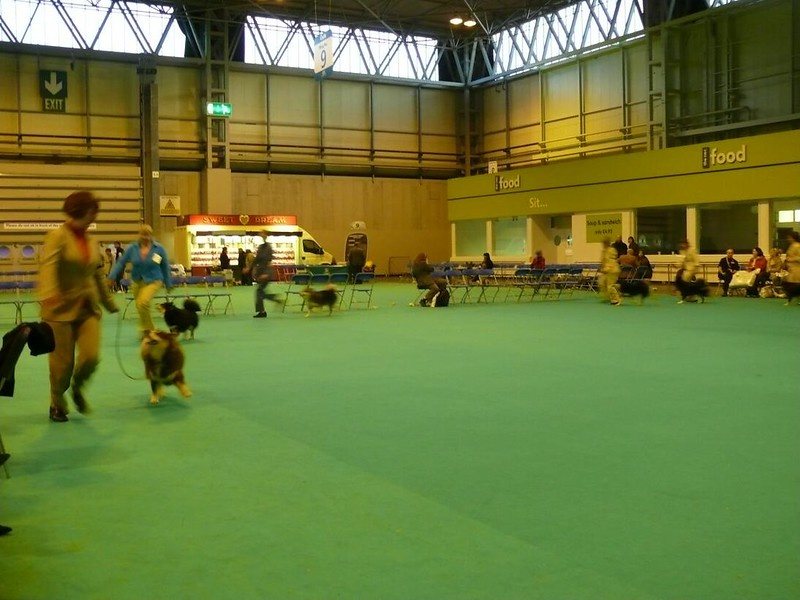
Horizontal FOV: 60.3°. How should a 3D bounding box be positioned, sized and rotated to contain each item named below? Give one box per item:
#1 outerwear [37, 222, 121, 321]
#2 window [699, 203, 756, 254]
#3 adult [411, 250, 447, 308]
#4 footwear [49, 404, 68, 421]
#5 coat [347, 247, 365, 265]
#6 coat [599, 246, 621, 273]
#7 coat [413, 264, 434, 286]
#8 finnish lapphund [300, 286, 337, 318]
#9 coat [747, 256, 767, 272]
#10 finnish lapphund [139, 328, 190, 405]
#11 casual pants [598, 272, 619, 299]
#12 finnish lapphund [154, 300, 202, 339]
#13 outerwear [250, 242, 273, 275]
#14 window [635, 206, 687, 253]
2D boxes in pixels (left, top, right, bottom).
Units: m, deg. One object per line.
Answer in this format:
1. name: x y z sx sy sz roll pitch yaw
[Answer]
1. outerwear: -2.677 -0.228 5.736 0.599 0.805 0.431 -4 6 -44
2. window: 12.196 -2.766 25.744 1.908 2.025 1.075 0 -1 -19
3. adult: 0.752 -0.532 18.056 0.909 1.674 0.658 -12 -6 2
4. footwear: -3.105 1.032 6.287 0.200 0.157 0.101 -2 -1 41
5. coat: -1.679 -1.740 26.848 0.579 0.595 1.376 -1 4 -7
6. coat: 5.297 -1.029 17.433 0.425 0.703 0.969 1 4 17
7. coat: 0.587 -0.637 17.605 0.502 0.602 0.425 0 4 0
8. finnish lapphund: -1.903 0.002 16.182 0.760 0.658 0.480 -1 4 -9
9. coat: 9.995 -1.021 19.338 0.213 0.422 0.414 13 -4 -8
10. finnish lapphund: -2.393 0.663 6.875 0.459 0.778 0.403 3 5 35
11. casual pants: 5.422 -0.336 17.883 0.498 0.714 0.456 1 4 23
12. finnish lapphund: -3.236 0.256 10.437 0.253 0.640 0.826 -18 -13 37
13. outerwear: -2.967 -0.888 14.705 0.435 0.722 0.359 0 4 1
14. window: 9.917 -2.737 26.550 2.142 2.247 0.723 -1 1 -28
